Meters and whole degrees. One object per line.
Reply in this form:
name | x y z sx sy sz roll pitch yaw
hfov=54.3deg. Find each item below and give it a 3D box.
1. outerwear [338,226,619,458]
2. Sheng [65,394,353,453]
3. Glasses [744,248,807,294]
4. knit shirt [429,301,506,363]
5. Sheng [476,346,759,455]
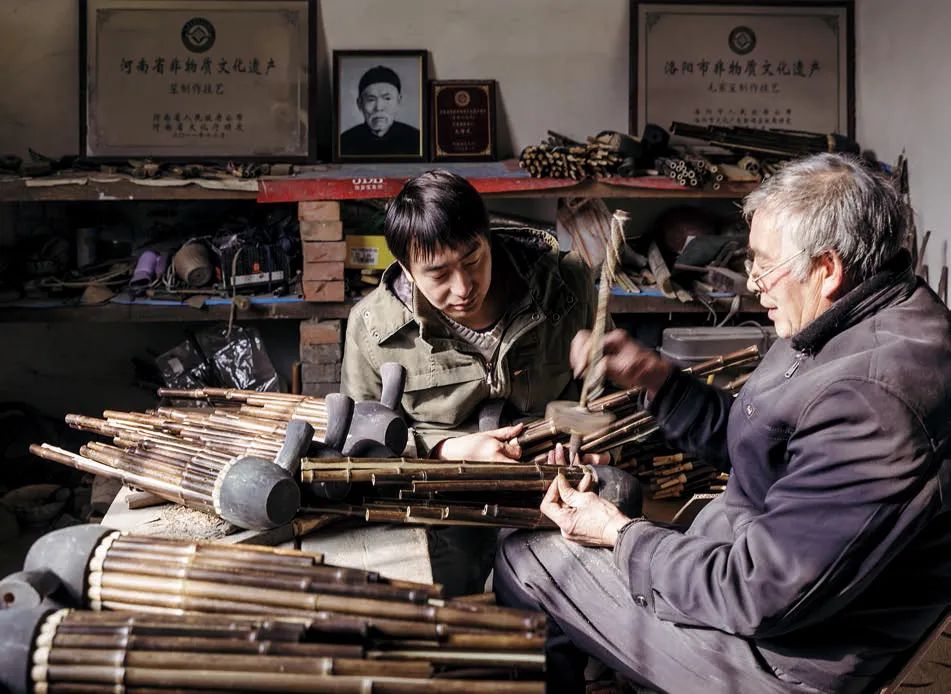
outerwear | 0.000 0.044 3.954 1.197 1.025 0.605 -12 32 -15
Sheng | -0.981 0.292 3.452 0.885 0.218 0.301 5 14 25
Glasses | 0.874 -0.224 2.727 0.115 0.035 0.111 -31 7 14
knit shirt | -0.024 -0.039 3.712 0.232 0.105 0.174 37 34 27
Sheng | 0.478 0.204 3.429 0.675 0.125 0.177 -23 29 8
